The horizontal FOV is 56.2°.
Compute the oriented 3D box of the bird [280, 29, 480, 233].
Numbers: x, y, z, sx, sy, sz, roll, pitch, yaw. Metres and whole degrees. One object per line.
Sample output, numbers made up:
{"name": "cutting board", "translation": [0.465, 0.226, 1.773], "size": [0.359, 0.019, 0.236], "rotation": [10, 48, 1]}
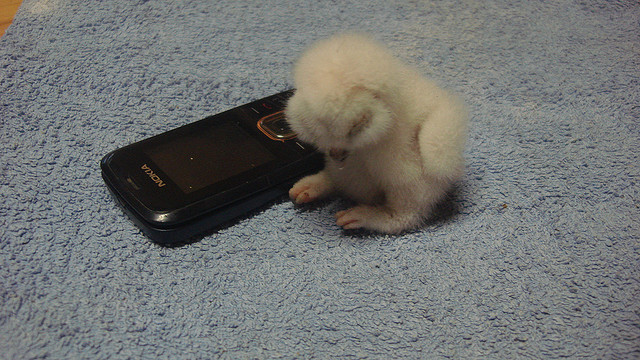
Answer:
{"name": "bird", "translation": [0.105, -0.083, 1.044], "size": [0.349, 0.286, 0.290], "rotation": [2, -65, 5]}
